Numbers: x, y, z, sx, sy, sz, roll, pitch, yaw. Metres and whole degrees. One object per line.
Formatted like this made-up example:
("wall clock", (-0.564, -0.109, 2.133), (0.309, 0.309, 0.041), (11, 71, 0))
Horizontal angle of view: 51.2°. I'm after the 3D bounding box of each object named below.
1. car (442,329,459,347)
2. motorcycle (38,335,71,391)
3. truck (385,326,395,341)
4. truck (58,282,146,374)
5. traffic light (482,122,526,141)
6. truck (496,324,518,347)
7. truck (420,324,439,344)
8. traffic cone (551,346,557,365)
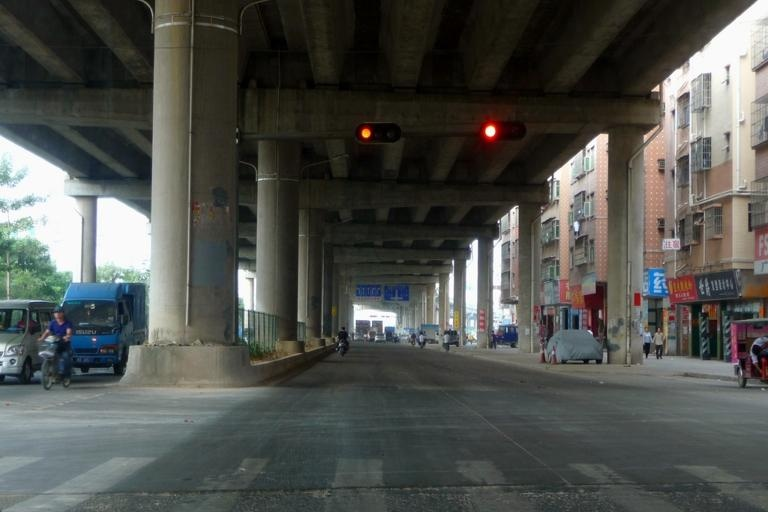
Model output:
("car", (7.709, 9.214, 91.622), (1.893, 1.741, 3.003), (1, -3, 3))
("motorcycle", (-10.097, 3.190, 24.458), (0.771, 1.658, 1.059), (-2, -11, 13))
("truck", (0.982, 12.502, 131.649), (1.842, 1.927, 3.477), (0, -6, 2))
("truck", (-11.502, 2.895, 32.616), (2.383, 2.834, 5.068), (-1, -11, -3))
("traffic light", (4.088, -4.318, 27.598), (1.446, 0.588, 0.395), (-1, -10, 5))
("truck", (13.548, 8.639, 88.068), (1.706, 2.125, 2.724), (1, 2, 2))
("truck", (6.791, 10.756, 109.911), (3.473, 2.651, 2.274), (-1, 1, 0))
("traffic cone", (8.941, 5.085, 42.147), (0.316, 0.964, 0.990), (-2, -11, 11))
